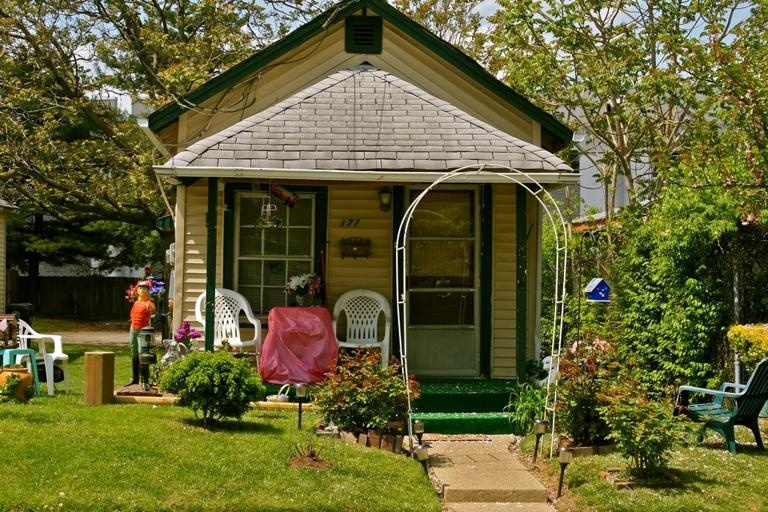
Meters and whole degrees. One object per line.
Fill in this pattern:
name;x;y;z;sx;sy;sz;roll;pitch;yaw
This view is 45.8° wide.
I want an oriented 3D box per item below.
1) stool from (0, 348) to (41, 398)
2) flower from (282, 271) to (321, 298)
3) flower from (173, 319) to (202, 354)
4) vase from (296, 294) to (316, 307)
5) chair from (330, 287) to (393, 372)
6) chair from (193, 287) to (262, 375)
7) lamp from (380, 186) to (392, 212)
stool;-6.787;2.189;17.210;0.780;1.207;0.883;-1;-10;-9
flower;-1.580;0.573;17.686;0.496;0.410;0.501;-9;-8;44
flower;-3.794;1.510;17.603;0.499;0.621;0.551;-1;-7;0
vase;-1.507;0.863;17.664;0.275;0.205;0.249;-2;-4;24
chair;-0.392;1.383;17.976;1.235;1.869;1.335;0;-9;0
chair;-3.008;1.437;17.782;1.308;1.901;1.412;1;-6;-21
lamp;0.033;-1.134;18.173;0.245;0.457;0.164;3;-9;1
